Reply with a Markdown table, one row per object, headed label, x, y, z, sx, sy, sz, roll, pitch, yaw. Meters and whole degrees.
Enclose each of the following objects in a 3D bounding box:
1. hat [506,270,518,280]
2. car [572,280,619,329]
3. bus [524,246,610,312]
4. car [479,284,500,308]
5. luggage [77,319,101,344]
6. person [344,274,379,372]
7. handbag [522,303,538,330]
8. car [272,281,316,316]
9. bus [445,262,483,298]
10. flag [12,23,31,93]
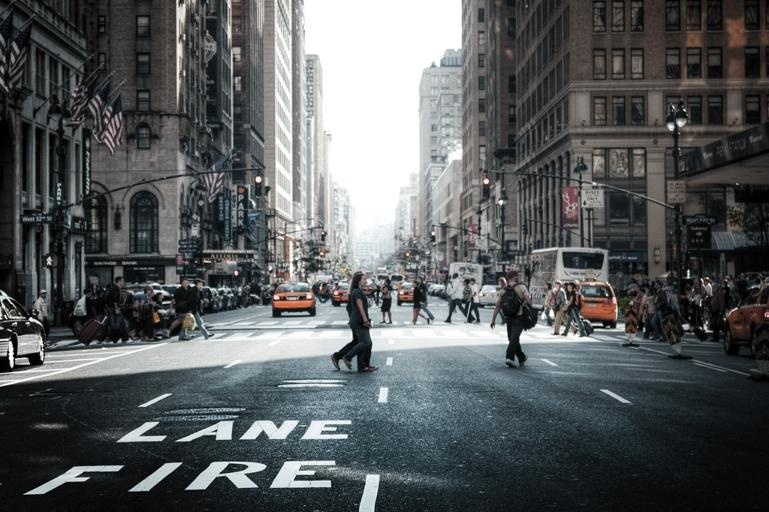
| label | x | y | z | sx | sy | sz | roll | pitch | yaw |
| --- | --- | --- | --- | --- | --- | --- | --- | --- | --- |
| hat | 3.540 | 0.534 | 20.743 | 0.217 | 0.181 | 0.235 | 0 | 1 | 14 |
| car | 11.335 | 2.514 | 39.870 | 1.768 | 1.901 | 4.179 | 0 | 5 | 7 |
| bus | 12.659 | 1.780 | 52.645 | 2.536 | 3.898 | 8.635 | 8 | -8 | -6 |
| car | 8.375 | 3.297 | 60.004 | 1.478 | 1.222 | 3.443 | 0 | 3 | 10 |
| luggage | -11.899 | 3.072 | 30.015 | 0.679 | 1.101 | 0.344 | 24 | -8 | 16 |
| person | -0.697 | 1.786 | 20.347 | 0.789 | 2.639 | 0.813 | 0 | -5 | 13 |
| handbag | 4.130 | 1.704 | 21.136 | 0.330 | 0.713 | 0.814 | 1 | 1 | 20 |
| car | -5.855 | 2.860 | 48.237 | 2.667 | 2.058 | 2.589 | 1 | 1 | -9 |
| bus | 7.960 | 2.132 | 70.941 | 2.202 | 2.379 | 3.876 | 1 | 5 | 4 |
| flag | -16.969 | -9.241 | 34.554 | 0.827 | 3.216 | 1.644 | 0 | 1 | -28 |
